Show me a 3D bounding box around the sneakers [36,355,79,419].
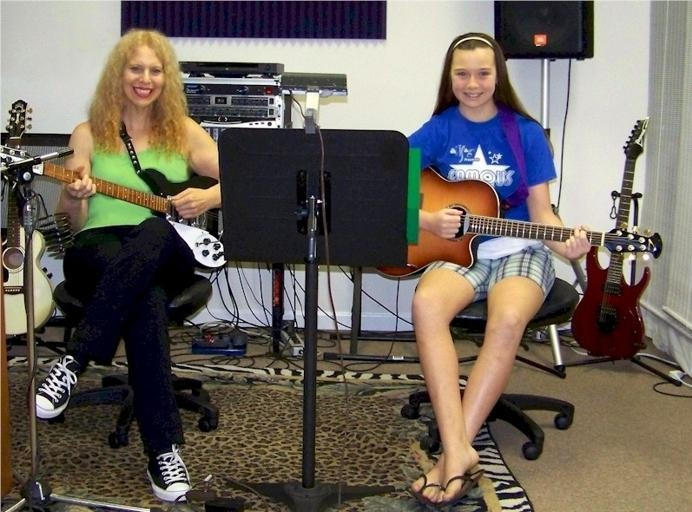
[{"bbox_3d":[-1.102,0.477,2.507,0.120,0.145,0.359,12,14,-12],"label":"sneakers"}]

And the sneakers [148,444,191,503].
[{"bbox_3d":[-0.676,0.825,2.522,0.122,0.197,0.296,11,-18,-35],"label":"sneakers"}]

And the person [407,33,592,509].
[{"bbox_3d":[0.696,0.099,2.931,0.780,1.856,0.660,0,-13,17],"label":"person"}]

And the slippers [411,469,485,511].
[{"bbox_3d":[0.377,0.857,2.448,0.253,0.070,0.134,-22,26,-24],"label":"slippers"}]

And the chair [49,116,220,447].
[{"bbox_3d":[-0.790,0.227,2.653,0.292,1.043,0.578,-22,-24,33],"label":"chair"}]
